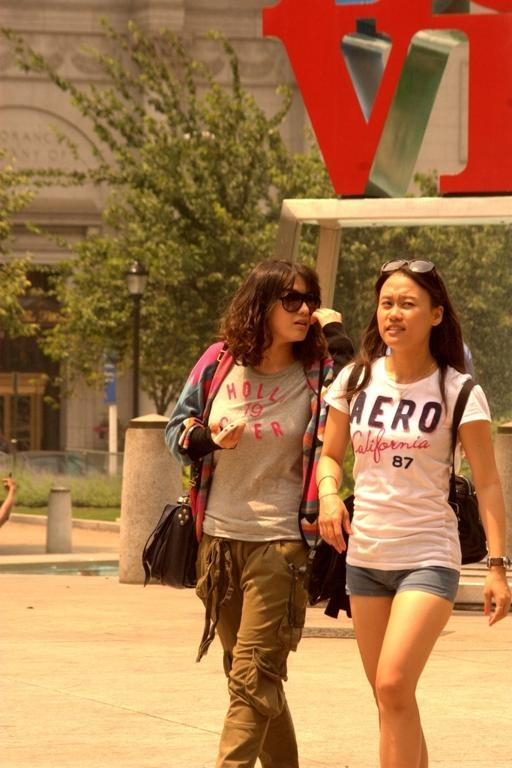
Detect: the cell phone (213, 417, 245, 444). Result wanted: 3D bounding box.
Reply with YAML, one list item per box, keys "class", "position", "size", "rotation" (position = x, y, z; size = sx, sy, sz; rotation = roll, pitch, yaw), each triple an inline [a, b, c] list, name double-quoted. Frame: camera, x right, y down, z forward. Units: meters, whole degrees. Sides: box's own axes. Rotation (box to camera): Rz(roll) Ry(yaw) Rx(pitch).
- class: "cell phone"
  position: [-0.084, 0.143, 2.965]
  size: [0.091, 0.090, 0.251]
  rotation: [1, -3, -3]

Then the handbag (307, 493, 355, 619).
- class: "handbag"
  position: [0.231, 0.547, 3.057]
  size: [0.128, 0.303, 0.060]
  rotation: [5, 19, 13]
